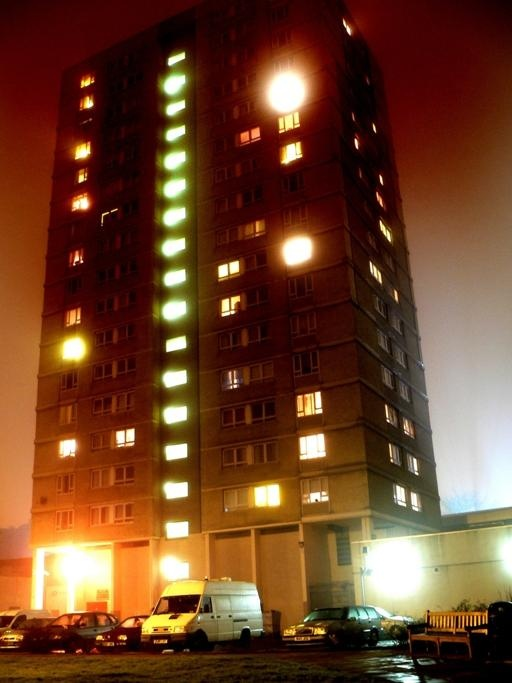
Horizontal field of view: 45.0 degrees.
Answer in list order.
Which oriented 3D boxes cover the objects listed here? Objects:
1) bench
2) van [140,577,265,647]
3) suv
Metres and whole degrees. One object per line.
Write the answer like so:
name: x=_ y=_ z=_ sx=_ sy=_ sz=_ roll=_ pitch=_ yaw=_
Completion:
bench: x=4.192 y=6.451 z=13.427 sx=0.628 sy=1.015 sz=1.830 roll=13 pitch=-27 yaw=-24
van: x=-1.943 y=10.244 z=22.903 sx=2.301 sy=2.379 sz=4.900 roll=-16 pitch=-28 yaw=28
suv: x=2.859 y=10.301 z=22.061 sx=1.786 sy=1.083 sz=3.153 roll=-26 pitch=-39 yaw=35
